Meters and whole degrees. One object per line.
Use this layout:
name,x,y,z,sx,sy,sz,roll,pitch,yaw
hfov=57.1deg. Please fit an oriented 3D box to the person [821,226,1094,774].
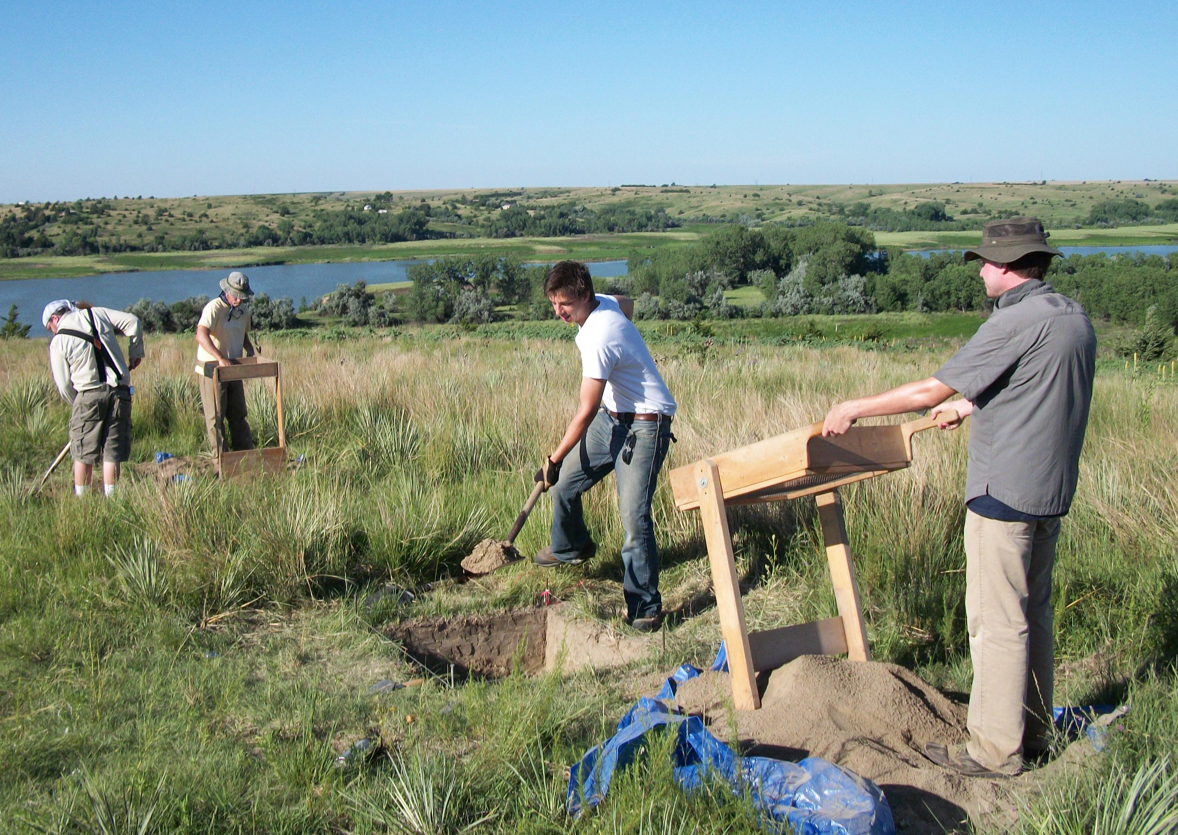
person,2.262,0.446,6.069,1.014,3.021,0.629,-8,10,-27

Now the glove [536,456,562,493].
glove,-0.287,0.449,8.278,0.175,0.271,0.079,22,7,43

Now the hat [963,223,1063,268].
hat,2.343,-0.955,6.055,0.385,0.202,0.442,-6,13,-8

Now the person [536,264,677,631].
person,0.081,0.203,8.127,0.748,2.724,0.993,-10,11,-36

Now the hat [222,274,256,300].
hat,-3.583,-1.366,11.109,0.267,0.165,0.321,22,11,-24

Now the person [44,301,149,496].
person,-4.636,-0.200,10.388,0.796,1.822,0.842,6,13,43
